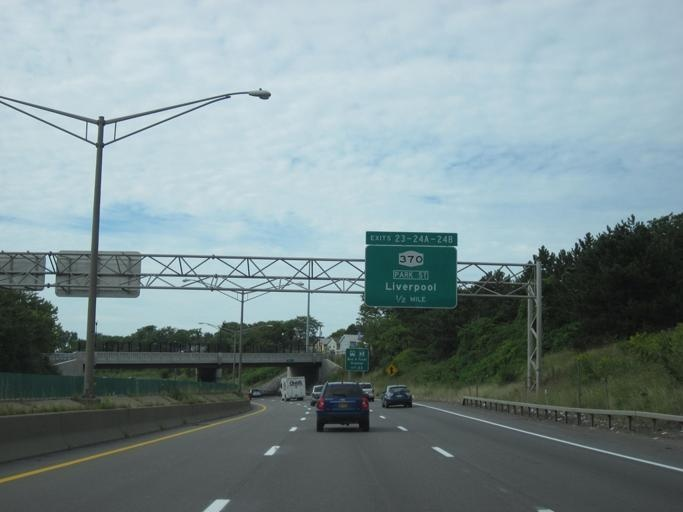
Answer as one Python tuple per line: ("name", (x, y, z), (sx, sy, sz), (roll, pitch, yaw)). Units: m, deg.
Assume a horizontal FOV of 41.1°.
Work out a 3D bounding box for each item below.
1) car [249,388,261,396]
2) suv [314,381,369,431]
("car", (-10.040, 16.303, 108.166), (1.300, 0.848, 2.490), (0, -9, -6))
("suv", (-0.016, 6.037, 36.327), (1.713, 1.949, 3.123), (2, -8, -4))
